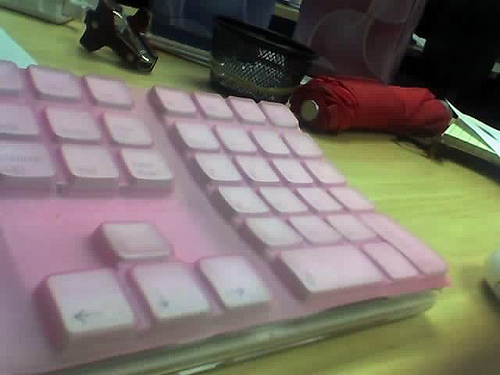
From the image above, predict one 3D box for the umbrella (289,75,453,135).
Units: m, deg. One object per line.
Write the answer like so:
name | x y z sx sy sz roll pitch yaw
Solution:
umbrella | 0.252 -0.158 1.034 0.289 0.122 0.173 2 3 -11
